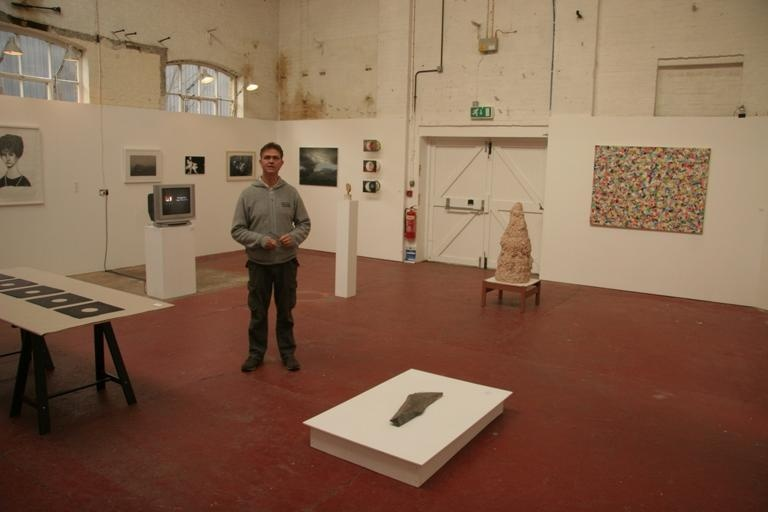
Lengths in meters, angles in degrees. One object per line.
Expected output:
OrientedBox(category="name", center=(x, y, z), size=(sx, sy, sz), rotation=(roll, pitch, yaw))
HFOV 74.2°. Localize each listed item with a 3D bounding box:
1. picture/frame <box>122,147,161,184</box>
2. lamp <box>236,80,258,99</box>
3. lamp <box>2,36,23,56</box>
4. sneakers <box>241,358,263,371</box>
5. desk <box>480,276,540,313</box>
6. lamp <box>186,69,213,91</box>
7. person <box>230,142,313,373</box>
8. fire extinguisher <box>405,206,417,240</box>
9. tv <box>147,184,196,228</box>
OrientedBox(category="picture/frame", center=(-4.832, -1.803, 10.043), size=(0.052, 0.661, 0.743), rotation=(5, 6, 34))
OrientedBox(category="lamp", center=(-3.217, -4.013, 12.129), size=(0.521, 0.536, 0.408), rotation=(2, 8, 16))
OrientedBox(category="lamp", center=(-6.413, -3.665, 8.761), size=(0.290, 0.354, 0.610), rotation=(-6, 14, -33))
OrientedBox(category="sneakers", center=(-1.523, 1.245, 5.805), size=(0.116, 0.105, 0.243), rotation=(3, -4, 9))
OrientedBox(category="desk", center=(2.114, 0.528, 8.262), size=(0.645, 0.424, 0.685), rotation=(3, 4, 29))
OrientedBox(category="lamp", center=(-4.104, -3.955, 11.493), size=(0.284, 0.519, 0.768), rotation=(7, 13, 23))
OrientedBox(category="person", center=(-1.257, 0.023, 5.782), size=(0.750, 2.558, 0.733), rotation=(7, 13, 24))
OrientedBox(category="fire extinguisher", center=(0.557, -0.709, 11.208), size=(0.315, 0.747, 0.169), rotation=(7, 13, 22))
OrientedBox(category="tv", center=(-3.590, -0.880, 8.537), size=(0.784, 0.673, 0.744), rotation=(-5, 14, -28))
